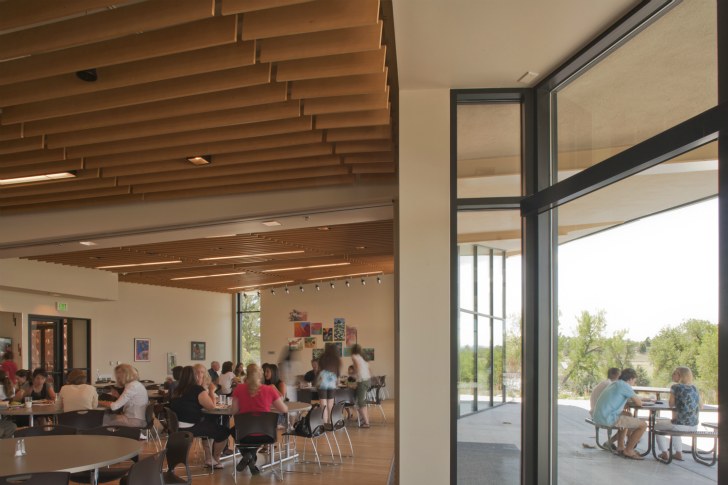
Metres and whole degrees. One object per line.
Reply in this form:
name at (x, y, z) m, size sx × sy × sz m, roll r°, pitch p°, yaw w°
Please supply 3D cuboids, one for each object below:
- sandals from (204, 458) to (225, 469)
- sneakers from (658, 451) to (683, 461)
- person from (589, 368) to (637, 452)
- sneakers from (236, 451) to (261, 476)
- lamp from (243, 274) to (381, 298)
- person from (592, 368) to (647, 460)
sandals at (-2.327, 3.434, 10.758) m, size 0.259 × 0.105 × 0.136 m, roll 4°, pitch -4°, yaw -34°
sneakers at (2.499, 1.732, 5.596) m, size 0.048 × 0.069 × 0.158 m, roll 8°, pitch -16°, yaw -42°
person at (2.312, 1.499, 6.199) m, size 0.414 × 0.809 × 0.335 m, roll 5°, pitch 3°, yaw -6°
sneakers at (-1.727, 3.326, 10.283) m, size 0.184 × 0.217 × 0.566 m, roll 15°, pitch -56°, yaw -19°
lamp at (-1.371, 1.286, 20.734) m, size 4.139 × 0.462 × 0.222 m, roll -9°, pitch -1°, yaw 15°
person at (2.322, 1.509, 6.160) m, size 0.446 × 0.759 × 0.406 m, roll 3°, pitch -3°, yaw -28°
